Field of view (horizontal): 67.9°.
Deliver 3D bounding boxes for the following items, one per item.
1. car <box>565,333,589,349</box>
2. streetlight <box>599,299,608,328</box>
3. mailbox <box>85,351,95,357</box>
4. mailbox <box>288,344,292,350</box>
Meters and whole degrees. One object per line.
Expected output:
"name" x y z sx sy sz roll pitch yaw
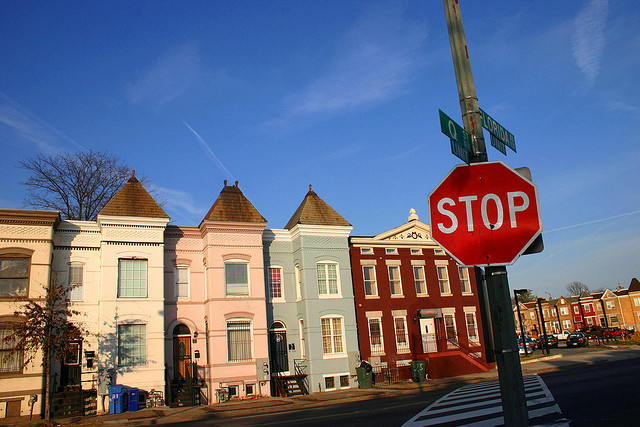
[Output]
"car" 33.343 16.555 62.384 2.251 1.720 1.274 -11 -15 25
"streetlight" 61.926 21.473 104.703 0.363 5.169 0.735 -4 -14 -2
"mailbox" -14.330 8.915 30.205 0.586 0.387 0.314 3 1 -9
"mailbox" -2.080 9.734 34.736 0.364 0.355 0.185 3 -24 -8
